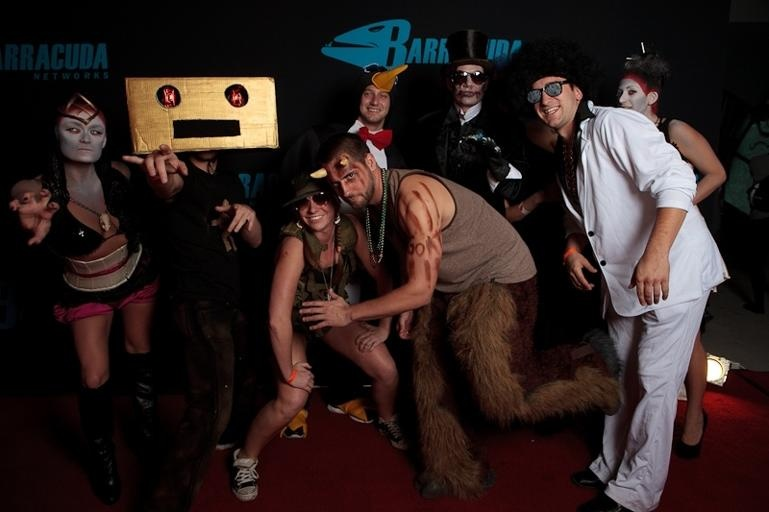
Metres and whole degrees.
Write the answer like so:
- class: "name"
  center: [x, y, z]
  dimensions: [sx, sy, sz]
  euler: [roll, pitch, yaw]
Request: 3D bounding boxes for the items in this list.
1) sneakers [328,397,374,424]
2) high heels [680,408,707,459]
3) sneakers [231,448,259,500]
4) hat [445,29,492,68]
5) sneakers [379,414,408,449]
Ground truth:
- class: "sneakers"
  center: [-0.238, 1.123, 4.522]
  dimensions: [0.365, 0.165, 0.141]
  euler: [10, 2, 21]
- class: "high heels"
  center: [2.100, 1.206, 4.054]
  dimensions: [0.125, 0.336, 0.107]
  euler: [34, -15, -29]
- class: "sneakers"
  center: [-0.906, 1.407, 3.892]
  dimensions: [0.124, 0.134, 0.329]
  euler: [-1, 17, -17]
- class: "hat"
  center: [0.617, -1.513, 4.424]
  dimensions: [0.293, 0.162, 0.240]
  euler: [0, 3, -8]
- class: "sneakers"
  center: [0.065, 1.239, 4.216]
  dimensions: [0.107, 0.125, 0.311]
  euler: [-30, 34, -18]
